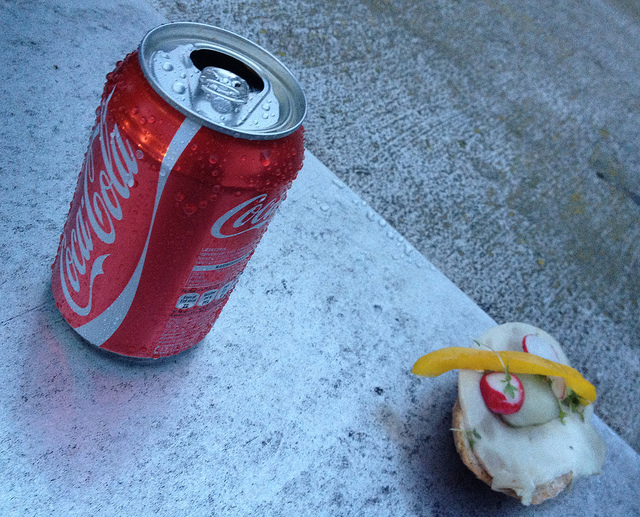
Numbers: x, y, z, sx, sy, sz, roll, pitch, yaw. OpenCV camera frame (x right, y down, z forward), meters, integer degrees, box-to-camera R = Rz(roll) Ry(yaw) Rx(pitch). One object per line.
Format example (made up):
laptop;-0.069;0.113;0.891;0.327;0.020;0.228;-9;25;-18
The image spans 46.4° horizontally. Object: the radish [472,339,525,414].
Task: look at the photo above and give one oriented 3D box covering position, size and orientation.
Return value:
radish;0.692;0.461;2.924;0.186;0.165;0.331;-9;48;-4
